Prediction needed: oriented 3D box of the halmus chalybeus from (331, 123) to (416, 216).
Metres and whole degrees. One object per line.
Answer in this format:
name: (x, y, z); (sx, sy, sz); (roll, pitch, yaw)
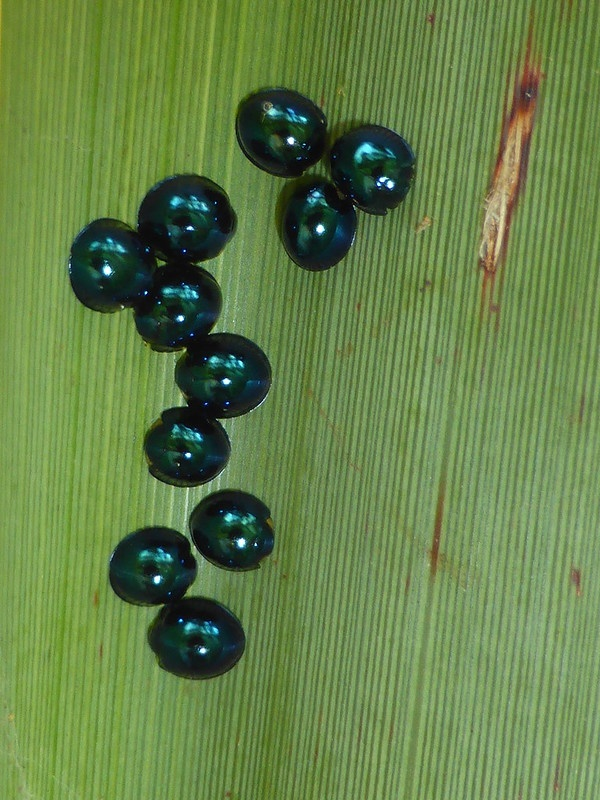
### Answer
halmus chalybeus: (0.066, -0.208, 0.899); (0.064, 0.045, 0.081); (-22, -77, -4)

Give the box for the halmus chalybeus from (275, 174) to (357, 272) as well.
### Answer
halmus chalybeus: (0.019, -0.164, 0.929); (0.075, 0.024, 0.088); (-13, -76, -39)

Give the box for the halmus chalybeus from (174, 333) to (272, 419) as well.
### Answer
halmus chalybeus: (-0.068, -0.021, 0.907); (0.071, 0.022, 0.083); (5, -89, -1)

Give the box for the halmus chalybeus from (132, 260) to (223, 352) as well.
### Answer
halmus chalybeus: (-0.108, -0.084, 0.899); (0.063, 0.043, 0.082); (23, -88, -5)

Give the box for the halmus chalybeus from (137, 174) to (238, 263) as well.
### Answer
halmus chalybeus: (-0.104, -0.164, 0.912); (0.084, 0.057, 0.071); (3, -62, 3)

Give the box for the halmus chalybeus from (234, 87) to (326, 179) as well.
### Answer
halmus chalybeus: (-0.015, -0.231, 0.920); (0.078, 0.048, 0.071); (40, -88, -4)

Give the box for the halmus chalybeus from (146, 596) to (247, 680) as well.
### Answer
halmus chalybeus: (-0.098, 0.226, 0.953); (0.094, 0.070, 0.062); (14, -62, -3)
